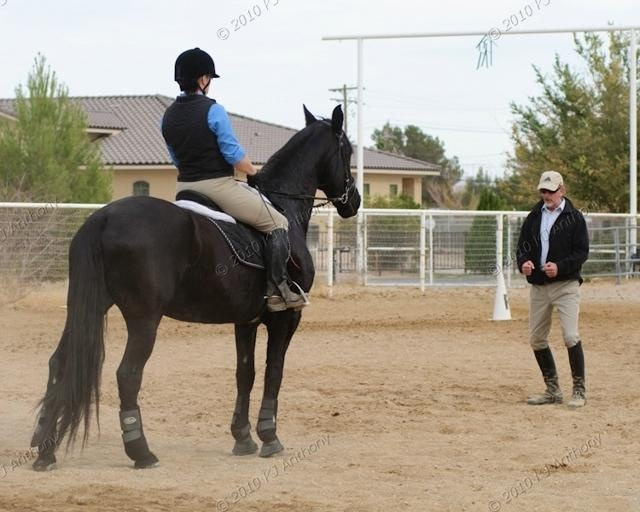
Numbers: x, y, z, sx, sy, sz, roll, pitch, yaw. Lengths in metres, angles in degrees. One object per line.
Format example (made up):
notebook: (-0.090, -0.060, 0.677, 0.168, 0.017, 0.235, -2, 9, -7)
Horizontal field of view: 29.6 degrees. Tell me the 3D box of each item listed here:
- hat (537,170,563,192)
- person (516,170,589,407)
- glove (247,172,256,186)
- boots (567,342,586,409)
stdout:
hat: (3.381, -1.073, 17.612, 0.259, 0.224, 0.414, 1, 0, 21)
person: (3.381, 0.453, 17.572, 1.034, 3.266, 0.964, 1, 10, 8)
glove: (-0.878, -0.977, 15.945, 0.125, 0.129, 0.119, 1, 4, 18)
boots: (3.711, 1.660, 17.458, 0.274, 0.883, 0.605, 2, 10, 13)
